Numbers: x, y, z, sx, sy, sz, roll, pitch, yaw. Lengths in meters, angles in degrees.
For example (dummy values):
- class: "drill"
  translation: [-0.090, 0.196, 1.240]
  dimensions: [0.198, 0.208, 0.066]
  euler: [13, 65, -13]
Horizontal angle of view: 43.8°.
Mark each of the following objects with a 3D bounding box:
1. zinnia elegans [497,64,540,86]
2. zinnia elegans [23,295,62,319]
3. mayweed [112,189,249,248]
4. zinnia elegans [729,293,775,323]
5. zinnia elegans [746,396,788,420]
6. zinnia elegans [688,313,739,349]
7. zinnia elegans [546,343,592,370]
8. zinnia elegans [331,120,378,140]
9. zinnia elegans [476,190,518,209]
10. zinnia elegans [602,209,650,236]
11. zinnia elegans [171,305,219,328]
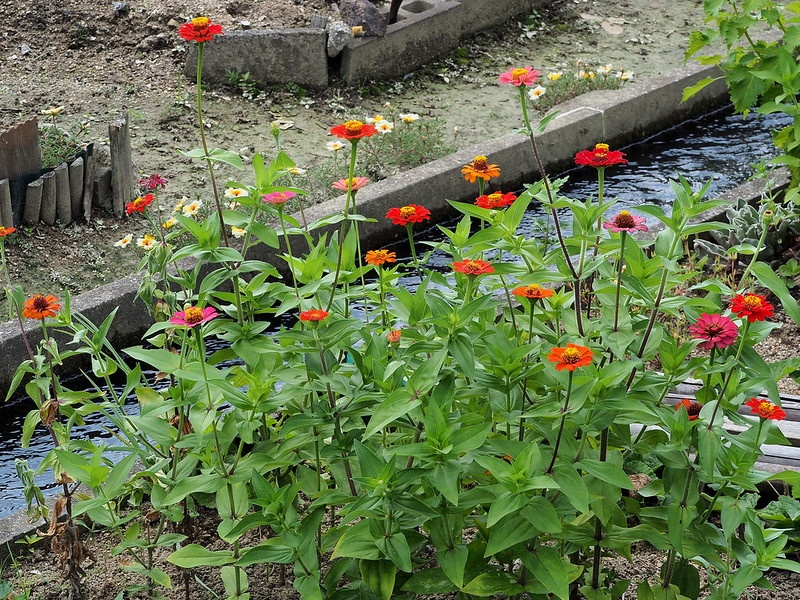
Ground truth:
- class: "zinnia elegans"
  translation: [0.507, -0.948, 4.212]
  dimensions: [0.147, 0.107, 0.239]
  euler: [-1, 26, -1]
- class: "zinnia elegans"
  translation: [-1.560, 0.027, 4.340]
  dimensions: [0.131, 0.054, 0.130]
  euler: [-14, 28, -19]
- class: "mayweed"
  translation: [-1.316, -0.471, 5.856]
  dimensions: [0.382, 0.125, 0.514]
  euler: [31, 51, 32]
- class: "zinnia elegans"
  translation: [1.380, 0.059, 3.904]
  dimensions: [0.125, 0.048, 0.130]
  euler: [27, 52, 24]
- class: "zinnia elegans"
  translation: [1.476, 0.459, 4.006]
  dimensions: [0.134, 0.057, 0.138]
  euler: [23, 23, 23]
- class: "zinnia elegans"
  translation: [1.232, 0.122, 3.890]
  dimensions: [0.169, 0.120, 0.136]
  euler: [7, 27, 15]
- class: "zinnia elegans"
  translation: [0.644, 0.218, 3.732]
  dimensions: [0.166, 0.089, 0.124]
  euler: [-10, 27, -17]
- class: "zinnia elegans"
  translation: [-0.174, -0.697, 4.094]
  dimensions: [0.163, 0.065, 0.166]
  euler: [-5, 21, -11]
- class: "zinnia elegans"
  translation: [0.414, -0.429, 4.316]
  dimensions: [0.122, 0.042, 0.120]
  euler: [-12, 12, -11]
- class: "zinnia elegans"
  translation: [0.897, -0.301, 3.932]
  dimensions: [0.125, 0.066, 0.132]
  euler: [7, 22, 11]
- class: "zinnia elegans"
  translation: [-0.801, 0.061, 3.938]
  dimensions: [0.109, 0.053, 0.112]
  euler: [1, 12, 44]
